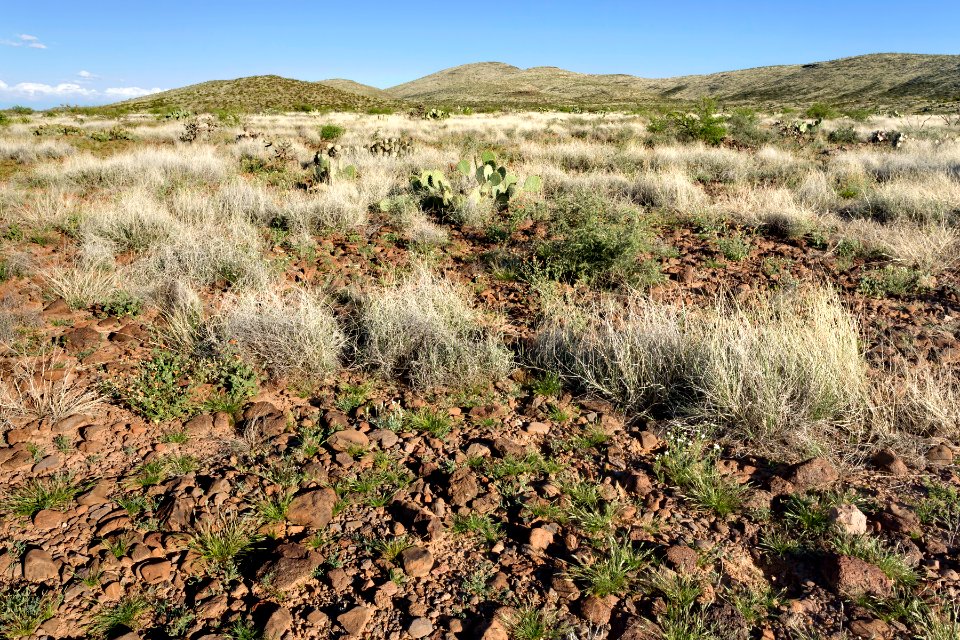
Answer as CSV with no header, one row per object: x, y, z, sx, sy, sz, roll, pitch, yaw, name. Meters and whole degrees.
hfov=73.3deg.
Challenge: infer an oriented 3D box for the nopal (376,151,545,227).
-0.137,-2.313,10.828,2.198,0.851,2.345,10,28,22,nopal
